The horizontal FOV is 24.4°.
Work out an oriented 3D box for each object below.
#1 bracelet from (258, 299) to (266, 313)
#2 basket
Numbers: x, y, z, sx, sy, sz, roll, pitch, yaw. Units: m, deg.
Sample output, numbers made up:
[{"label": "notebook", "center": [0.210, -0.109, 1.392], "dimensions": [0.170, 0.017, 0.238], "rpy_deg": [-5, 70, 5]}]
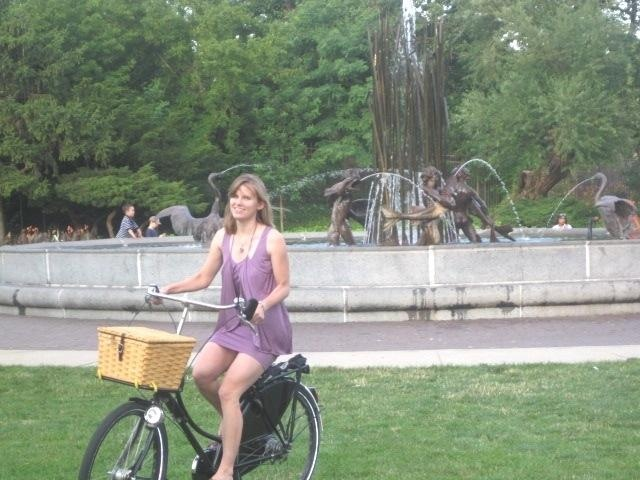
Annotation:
[{"label": "bracelet", "center": [-1.866, 1.986, 46.150], "dimensions": [0.221, 0.209, 0.268], "rpy_deg": [-44, -9, -12]}, {"label": "basket", "center": [-5.464, 3.586, 46.242], "dimensions": [2.465, 1.556, 1.947], "rpy_deg": [6, 0, 23]}]
